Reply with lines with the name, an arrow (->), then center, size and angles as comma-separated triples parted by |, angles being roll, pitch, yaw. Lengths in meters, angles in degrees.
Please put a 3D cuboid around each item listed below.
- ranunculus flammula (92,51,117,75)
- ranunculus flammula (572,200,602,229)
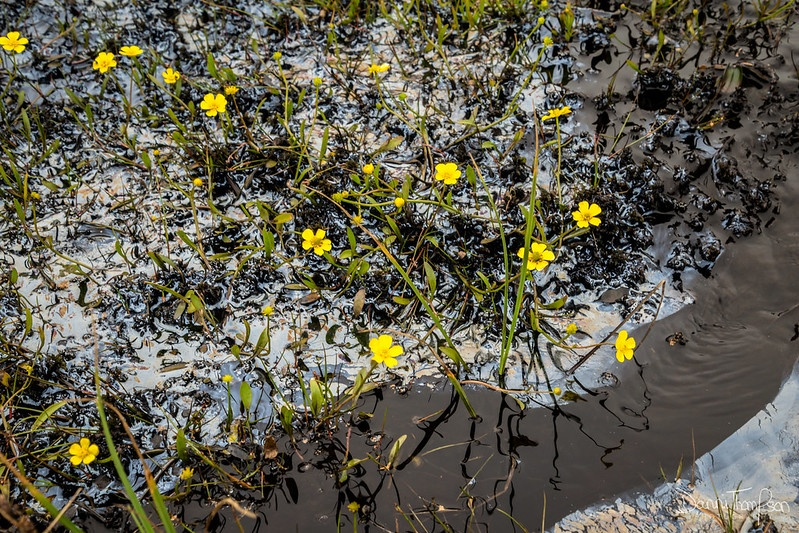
ranunculus flammula -> -2.110, -1.476, 5.043 | 0.199, 0.055, 0.226 | -2, 82, 1
ranunculus flammula -> 1.187, -0.306, 4.465 | 0.159, 0.216, 0.148 | 11, 37, 13
